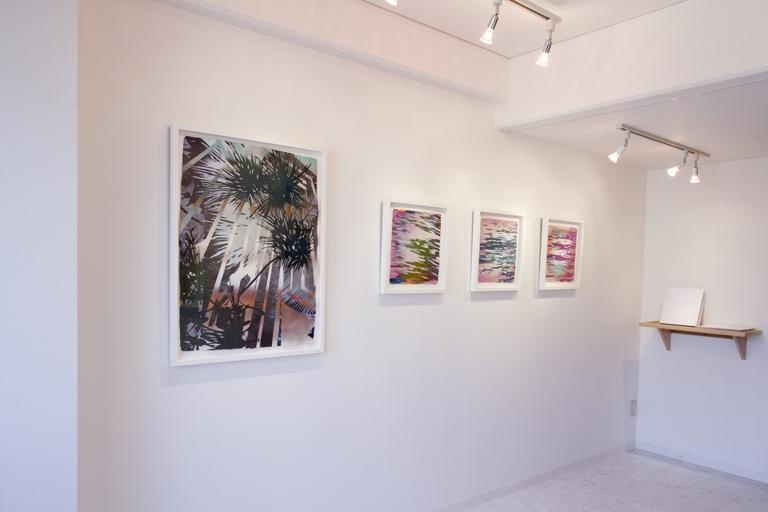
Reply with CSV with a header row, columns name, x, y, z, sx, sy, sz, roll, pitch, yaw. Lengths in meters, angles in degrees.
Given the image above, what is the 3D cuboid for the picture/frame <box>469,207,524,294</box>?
name,x,y,z,sx,sy,sz,roll,pitch,yaw
picture/frame,0.838,-0.041,3.758,0.702,0.797,0.062,3,-3,-37

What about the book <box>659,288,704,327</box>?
name,x,y,z,sx,sy,sz,roll,pitch,yaw
book,2.792,0.492,4.583,0.182,0.320,0.329,16,-11,-37

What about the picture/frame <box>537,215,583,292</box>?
name,x,y,z,sx,sy,sz,roll,pitch,yaw
picture/frame,1.471,-0.020,4.163,0.700,0.757,0.079,3,-2,-37

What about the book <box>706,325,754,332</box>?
name,x,y,z,sx,sy,sz,roll,pitch,yaw
book,3.028,0.636,4.315,0.361,0.042,0.267,3,0,39

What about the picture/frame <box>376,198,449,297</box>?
name,x,y,z,sx,sy,sz,roll,pitch,yaw
picture/frame,0.170,-0.056,3.350,0.721,0.779,0.083,2,-4,-35
